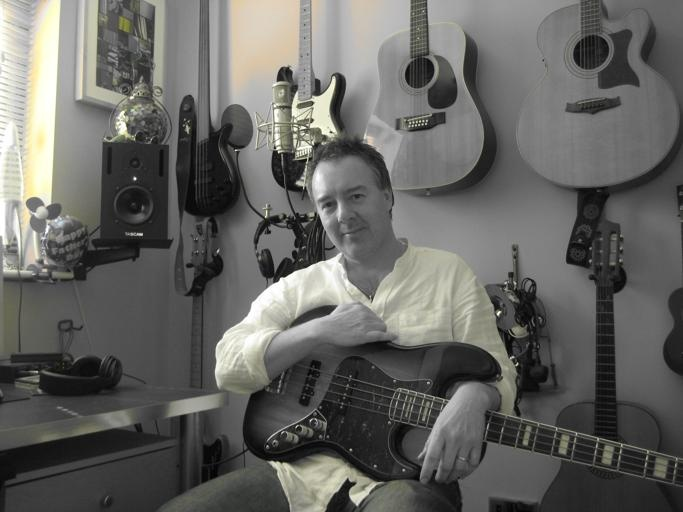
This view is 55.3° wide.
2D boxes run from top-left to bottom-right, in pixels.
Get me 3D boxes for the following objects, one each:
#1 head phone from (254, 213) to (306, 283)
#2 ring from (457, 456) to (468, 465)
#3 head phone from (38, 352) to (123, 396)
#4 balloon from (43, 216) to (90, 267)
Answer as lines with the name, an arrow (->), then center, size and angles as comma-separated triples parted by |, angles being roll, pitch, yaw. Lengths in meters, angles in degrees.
head phone -> -0.284, -0.041, 3.118 | 0.280, 0.395, 0.135 | 4, -5, -14
ring -> 0.347, 0.587, 1.872 | 0.023, 0.010, 0.020 | 23, -5, 24
head phone -> -1.000, 0.427, 2.544 | 0.242, 0.162, 0.279 | 9, 7, 40
balloon -> -1.308, -0.064, 3.089 | 0.195, 0.238, 0.115 | 5, 0, -33
